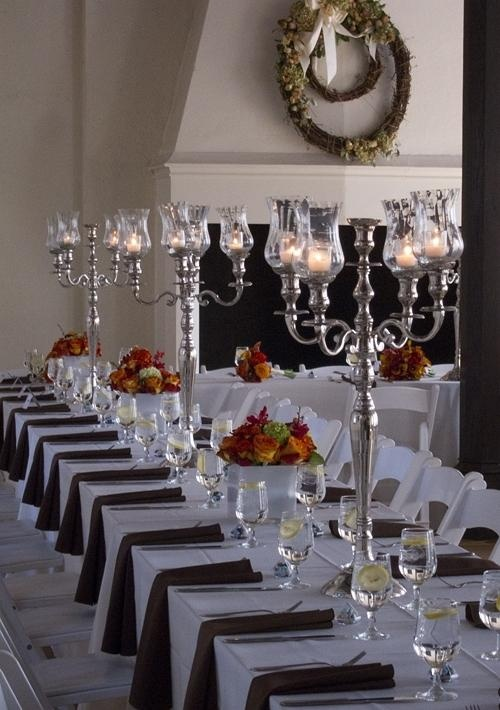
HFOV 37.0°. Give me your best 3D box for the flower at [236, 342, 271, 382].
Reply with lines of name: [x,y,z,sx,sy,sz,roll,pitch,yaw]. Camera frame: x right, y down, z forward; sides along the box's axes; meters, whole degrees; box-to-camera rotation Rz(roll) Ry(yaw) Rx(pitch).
flower: [0.031,0.071,5.427,0.277,0.333,0.266,7,-4,3]

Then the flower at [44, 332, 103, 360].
flower: [-1.201,-0.052,5.050,0.296,0.127,0.299,-2,-3,14]

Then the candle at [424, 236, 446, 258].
candle: [0.398,-0.231,1.607,0.043,0.029,0.042,-3,1,-6]

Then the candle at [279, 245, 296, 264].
candle: [0.096,-0.269,2.022,0.020,0.053,0.058,-5,6,-34]

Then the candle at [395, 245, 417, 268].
candle: [0.355,-0.222,1.702,0.046,0.042,0.045,-8,14,-30]

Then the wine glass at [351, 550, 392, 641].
wine glass: [0.205,0.393,1.262,0.059,0.175,0.207,-1,5,9]

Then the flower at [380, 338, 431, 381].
flower: [1.092,0.017,5.293,0.324,0.269,0.330,-4,6,-35]

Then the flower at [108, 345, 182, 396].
flower: [-0.435,0.077,3.139,0.233,0.184,0.232,0,-2,1]

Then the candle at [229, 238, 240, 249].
candle: [-0.057,-0.425,2.847,0.036,0.038,0.036,4,8,17]

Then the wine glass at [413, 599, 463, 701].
wine glass: [0.248,0.383,1.000,0.054,0.146,0.129,-1,5,12]

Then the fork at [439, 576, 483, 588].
fork: [0.444,0.472,1.551,0.089,0.009,0.067,-2,4,-6]

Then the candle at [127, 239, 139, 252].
candle: [-0.516,-0.483,3.310,0.051,0.048,0.047,-2,6,-20]

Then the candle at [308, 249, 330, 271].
candle: [0.138,-0.191,1.507,0.042,0.041,0.042,1,-1,5]
